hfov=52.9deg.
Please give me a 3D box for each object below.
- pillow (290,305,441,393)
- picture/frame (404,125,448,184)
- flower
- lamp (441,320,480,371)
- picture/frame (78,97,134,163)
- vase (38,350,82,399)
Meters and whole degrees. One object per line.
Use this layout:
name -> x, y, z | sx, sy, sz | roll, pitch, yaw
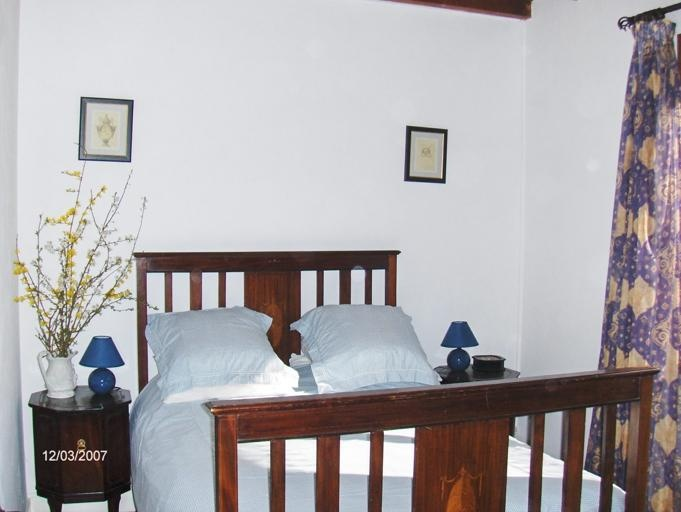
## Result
pillow -> 0.130, 0.489, 3.604 | 0.509, 0.165, 0.504 | -4, 36, -27
picture/frame -> 0.529, -0.651, 4.341 | 0.341, 0.432, 0.027 | 1, 1, -24
flower -> -1.395, 0.003, 3.708 | 0.694, 1.026, 0.331 | -1, 2, -23
lamp -> 0.690, 0.531, 4.229 | 0.252, 0.324, 0.263 | -4, 3, -24
picture/frame -> -1.316, -0.707, 3.800 | 0.339, 0.469, 0.031 | 0, 10, -22
vase -> -1.436, 0.610, 3.552 | 0.153, 0.282, 0.266 | 3, 4, 21
